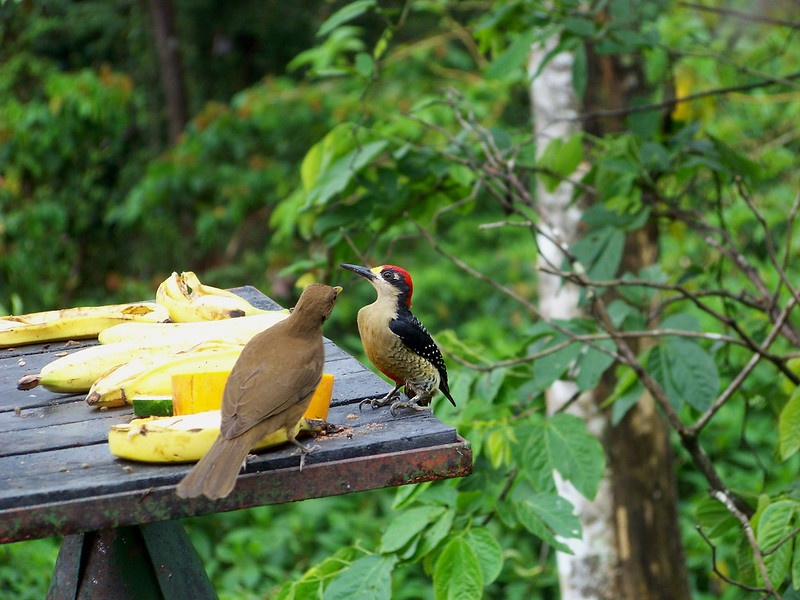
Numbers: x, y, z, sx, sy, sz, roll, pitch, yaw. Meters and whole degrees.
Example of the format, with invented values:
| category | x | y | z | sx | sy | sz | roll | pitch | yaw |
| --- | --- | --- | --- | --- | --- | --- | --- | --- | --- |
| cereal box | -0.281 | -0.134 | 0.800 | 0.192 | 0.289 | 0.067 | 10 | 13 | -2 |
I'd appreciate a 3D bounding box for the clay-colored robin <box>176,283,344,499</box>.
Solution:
| category | x | y | z | sx | sy | sz | roll | pitch | yaw |
| --- | --- | --- | --- | --- | --- | --- | --- | --- | --- |
| clay-colored robin | -0.457 | 0.258 | 3.429 | 0.262 | 0.574 | 0.844 | 5 | 30 | 38 |
